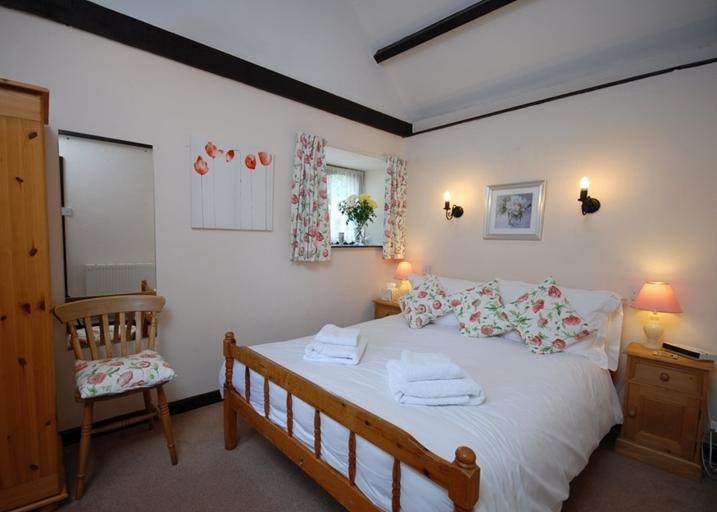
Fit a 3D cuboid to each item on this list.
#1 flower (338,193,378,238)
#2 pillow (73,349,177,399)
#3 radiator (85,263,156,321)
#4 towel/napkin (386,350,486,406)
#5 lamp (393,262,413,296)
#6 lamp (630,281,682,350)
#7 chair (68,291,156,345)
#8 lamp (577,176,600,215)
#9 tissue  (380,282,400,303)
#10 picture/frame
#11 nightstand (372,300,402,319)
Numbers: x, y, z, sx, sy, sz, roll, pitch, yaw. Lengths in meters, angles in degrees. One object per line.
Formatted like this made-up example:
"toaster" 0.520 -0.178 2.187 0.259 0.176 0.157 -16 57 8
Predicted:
"flower" -0.006 -0.467 5.674 0.494 0.558 0.505 3 4 -1
"pillow" -1.847 0.931 3.631 0.698 0.248 0.399 1 5 -28
"radiator" -2.025 0.309 3.855 0.446 0.429 0.061 -2 9 -28
"towel/napkin" 0.538 0.858 3.204 0.647 0.276 0.287 3 4 -4
"lamp" 0.564 0.305 5.485 0.232 0.430 0.243 2 0 -22
"lamp" 2.593 0.510 3.986 0.333 0.595 0.339 3 7 22
"chair" -2.174 0.451 4.039 0.491 0.704 0.433 -4 1 -33
"lamp" 2.196 -0.558 4.325 0.196 0.359 0.171 5 5 27
"tissue " 0.405 0.429 5.502 0.195 0.223 0.201 -2 5 -39
"picture/frame" 1.668 -0.483 4.797 0.580 0.663 0.044 5 5 38
"nightstand" 0.348 0.597 5.396 0.206 0.304 0.300 -4 6 -43
